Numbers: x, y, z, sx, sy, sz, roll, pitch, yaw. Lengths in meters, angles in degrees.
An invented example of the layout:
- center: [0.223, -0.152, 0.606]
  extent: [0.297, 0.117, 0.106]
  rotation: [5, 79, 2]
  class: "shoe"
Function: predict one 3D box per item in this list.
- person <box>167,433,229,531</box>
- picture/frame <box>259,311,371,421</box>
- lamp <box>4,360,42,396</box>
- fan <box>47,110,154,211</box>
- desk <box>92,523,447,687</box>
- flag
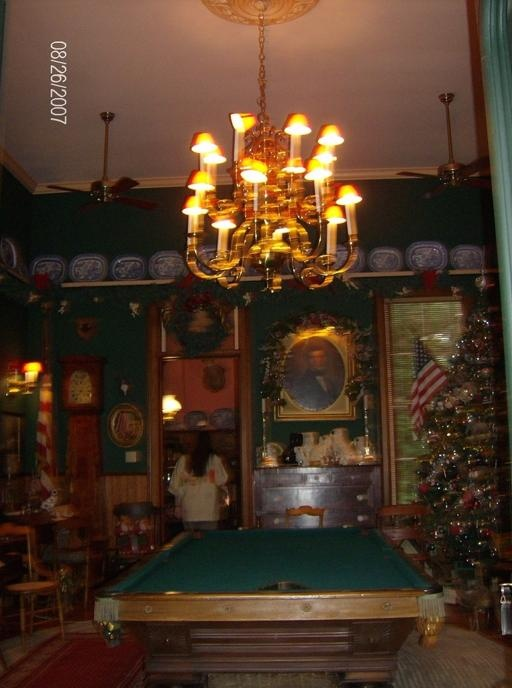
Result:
- center: [-0.609, 1.439, 6.871]
  extent: [0.595, 1.015, 0.321]
  rotation: [-2, -7, -7]
  class: "person"
- center: [0.652, 0.277, 7.039]
  extent: [1.450, 1.094, 0.099]
  rotation: [0, -15, 3]
  class: "picture/frame"
- center: [-2.470, 0.373, 6.911]
  extent: [0.390, 0.355, 0.266]
  rotation: [-2, -8, -4]
  class: "lamp"
- center: [-1.500, -1.809, 6.347]
  extent: [0.891, 0.641, 0.837]
  rotation: [7, -9, -32]
  class: "fan"
- center: [0.095, 1.289, 3.165]
  extent: [1.290, 0.348, 1.265]
  rotation: [-2, -11, 3]
  class: "desk"
- center: [1.794, 0.454, 6.829]
  extent: [0.415, 1.020, 0.186]
  rotation: [-4, -7, 3]
  class: "flag"
